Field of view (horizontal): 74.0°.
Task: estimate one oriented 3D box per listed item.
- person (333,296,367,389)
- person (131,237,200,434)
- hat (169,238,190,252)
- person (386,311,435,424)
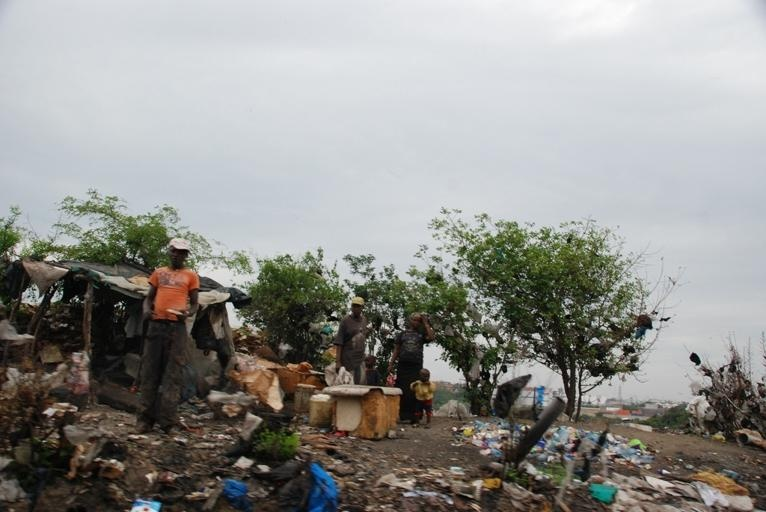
[{"bbox_3d":[-0.554,1.528,9.455,0.619,1.608,0.374,9,-1,0],"label":"person"},{"bbox_3d":[-2.991,1.030,7.042,0.705,2.884,0.515,9,-1,-11],"label":"person"},{"bbox_3d":[-2.952,-0.216,7.393,0.396,0.157,0.534,8,-4,-12],"label":"hat"},{"bbox_3d":[0.689,2.156,10.266,1.016,2.033,0.607,-5,-12,27],"label":"person"}]
